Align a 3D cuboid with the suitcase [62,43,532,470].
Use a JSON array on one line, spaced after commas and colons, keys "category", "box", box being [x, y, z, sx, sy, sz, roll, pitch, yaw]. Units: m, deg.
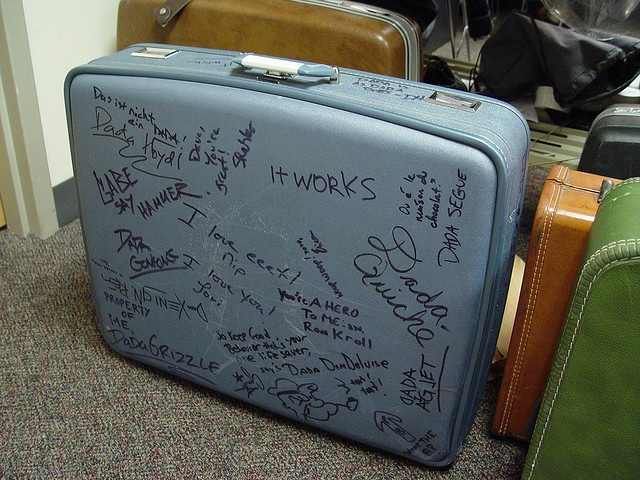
[{"category": "suitcase", "box": [-0.063, 0.072, 1.250, 0.756, 0.715, 0.267, 14, 29, 23]}]
